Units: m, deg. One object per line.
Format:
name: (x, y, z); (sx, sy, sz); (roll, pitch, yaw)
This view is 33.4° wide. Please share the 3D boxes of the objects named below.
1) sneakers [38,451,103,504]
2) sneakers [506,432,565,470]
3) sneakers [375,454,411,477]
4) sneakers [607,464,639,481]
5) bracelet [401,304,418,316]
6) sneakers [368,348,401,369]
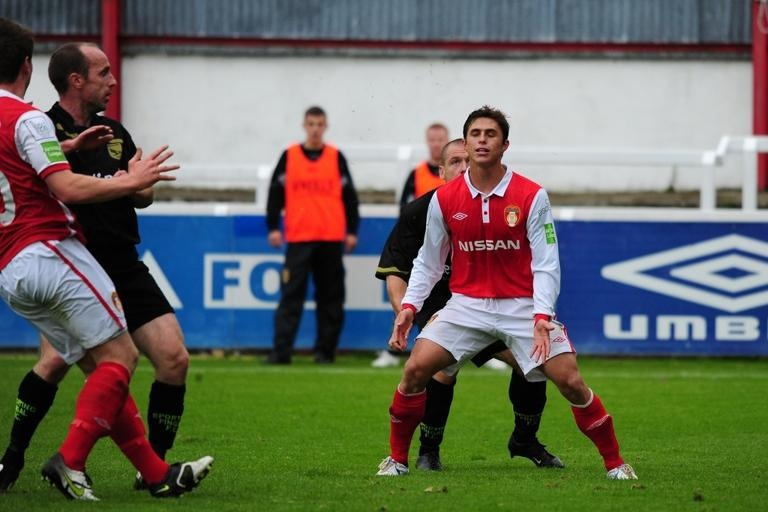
sneakers: (-1.693, 1.187, 6.931); (0.290, 0.287, 0.136); (-8, 12, -43)
sneakers: (0.933, 1.196, 7.856); (0.421, 0.171, 0.140); (12, 6, 19)
sneakers: (0.047, 1.242, 7.590); (0.087, 0.077, 0.182); (0, -7, 38)
sneakers: (1.402, 1.246, 7.397); (0.085, 0.056, 0.136); (3, -9, -34)
bracelet: (0.167, 0.314, 7.507); (0.069, 0.060, 0.066); (2, -33, 0)
sneakers: (0.028, 0.895, 11.200); (0.111, 0.133, 0.328); (-4, -5, 36)
